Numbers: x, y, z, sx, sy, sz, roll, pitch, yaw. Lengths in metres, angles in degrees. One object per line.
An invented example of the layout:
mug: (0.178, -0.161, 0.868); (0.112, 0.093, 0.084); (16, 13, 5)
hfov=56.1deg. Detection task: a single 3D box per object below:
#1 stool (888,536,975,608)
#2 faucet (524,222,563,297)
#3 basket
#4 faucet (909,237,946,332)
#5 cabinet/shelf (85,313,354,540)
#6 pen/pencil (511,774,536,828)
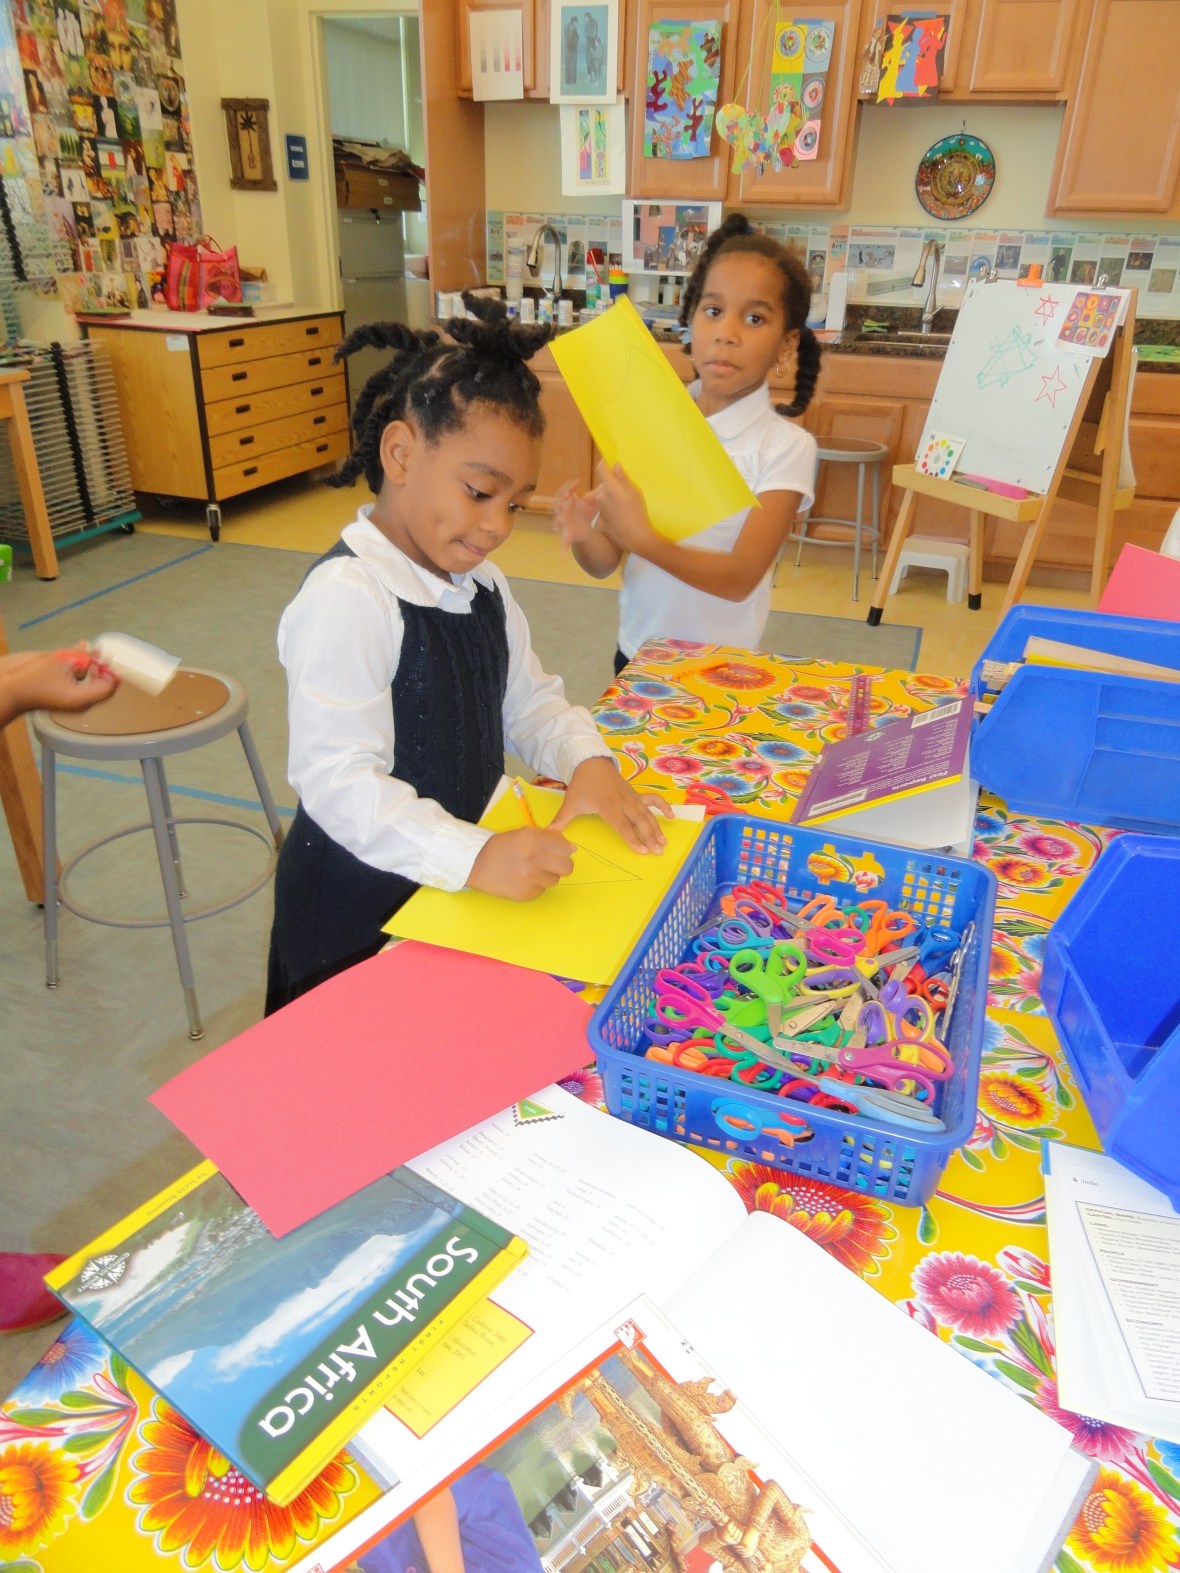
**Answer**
stool: (1.339, -0.864, 4.307); (0.275, 0.197, 0.431); (10, 30, 14)
faucet: (-0.231, -2.455, 5.120); (0.188, 0.298, 0.090); (16, 33, 22)
basket: (0.150, 0.099, 0.716); (0.204, 0.075, 0.264); (13, 36, 22)
faucet: (1.392, -2.083, 4.586); (0.122, 0.349, 0.093); (9, 31, 11)
cabinet/shelf: (-1.639, -1.731, 5.020); (0.611, 0.710, 1.072); (12, 30, 18)
pen/pencil: (-0.068, 0.010, 1.044); (0.012, 0.011, 0.103); (33, 14, -25)
